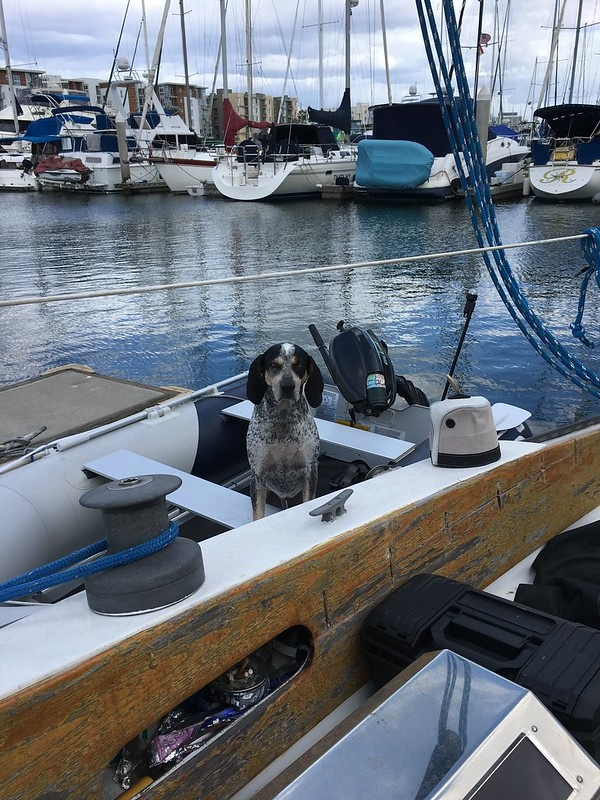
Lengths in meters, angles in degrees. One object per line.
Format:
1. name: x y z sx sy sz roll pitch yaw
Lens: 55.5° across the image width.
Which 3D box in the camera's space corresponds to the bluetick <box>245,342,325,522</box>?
1. bluetick: -0.084 0.203 2.592 0.346 0.849 0.923 0 -2 -4
